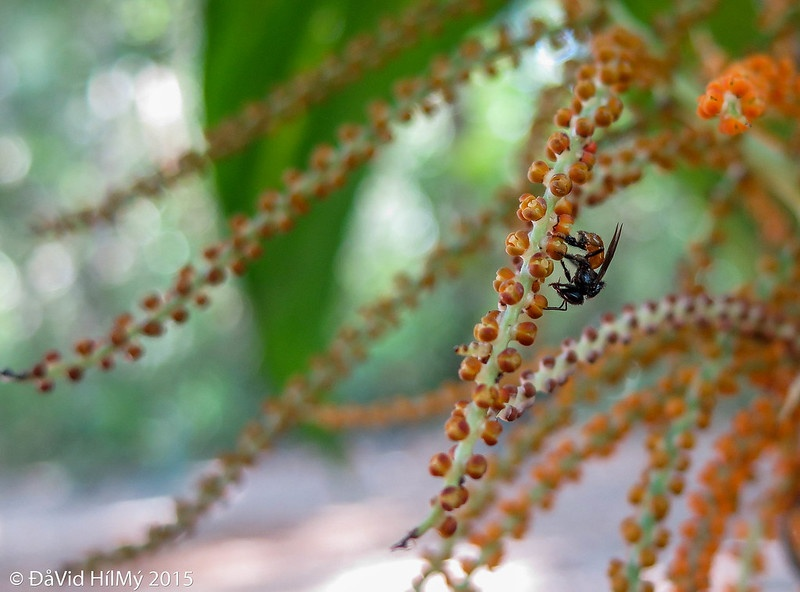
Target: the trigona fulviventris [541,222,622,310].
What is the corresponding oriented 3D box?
[{"bbox_3d":[0.163,-0.031,0.853,0.068,0.023,0.050,11,-14,-3],"label":"trigona fulviventris"}]
